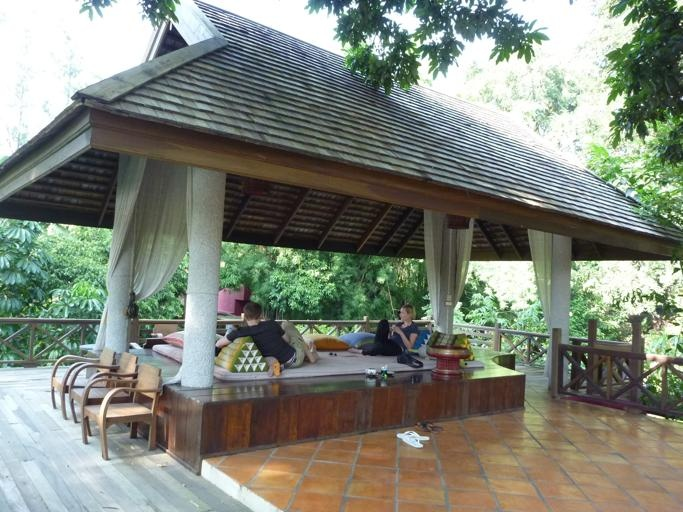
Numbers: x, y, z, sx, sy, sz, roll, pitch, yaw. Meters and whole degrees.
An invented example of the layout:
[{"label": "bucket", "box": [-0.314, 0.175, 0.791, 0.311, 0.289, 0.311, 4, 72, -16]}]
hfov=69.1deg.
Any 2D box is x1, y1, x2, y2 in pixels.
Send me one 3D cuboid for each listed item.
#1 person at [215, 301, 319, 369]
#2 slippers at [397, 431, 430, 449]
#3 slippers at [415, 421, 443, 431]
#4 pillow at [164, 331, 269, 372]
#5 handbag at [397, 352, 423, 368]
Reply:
[{"label": "person", "box": [-0.729, 1.008, 5.795, 0.954, 0.803, 1.383, -6, -16, 13]}, {"label": "slippers", "box": [0.757, 1.940, 5.291, 0.359, 0.073, 0.327, 3, 1, 11]}, {"label": "slippers", "box": [1.017, 1.956, 5.718, 0.298, 0.049, 0.281, 2, 1, -20]}, {"label": "pillow", "box": [-1.345, 1.146, 5.903, 0.665, 0.348, 0.955, 4, -9, -26]}, {"label": "handbag", "box": [0.900, 1.364, 6.521, 0.246, 0.125, 0.183, 18, 11, 40]}]
